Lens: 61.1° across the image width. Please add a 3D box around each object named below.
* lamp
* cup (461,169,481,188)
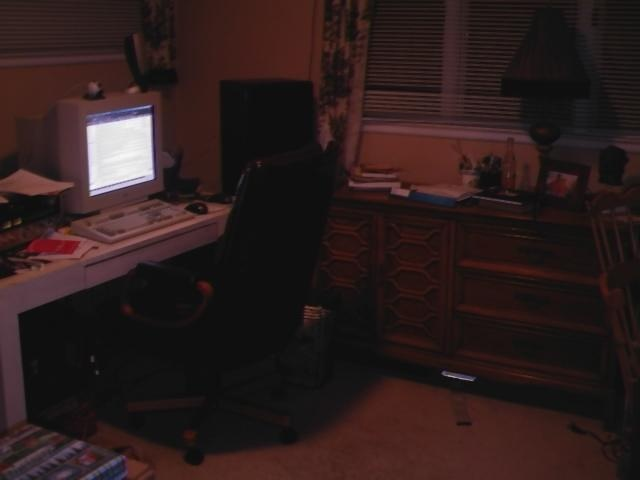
[{"bbox_3d":[1.235,-0.718,2.904,0.491,0.987,0.498,16,25,29],"label":"lamp"},{"bbox_3d":[0.863,-0.361,3.129,0.092,0.094,0.093,0,7,0],"label":"cup"}]
